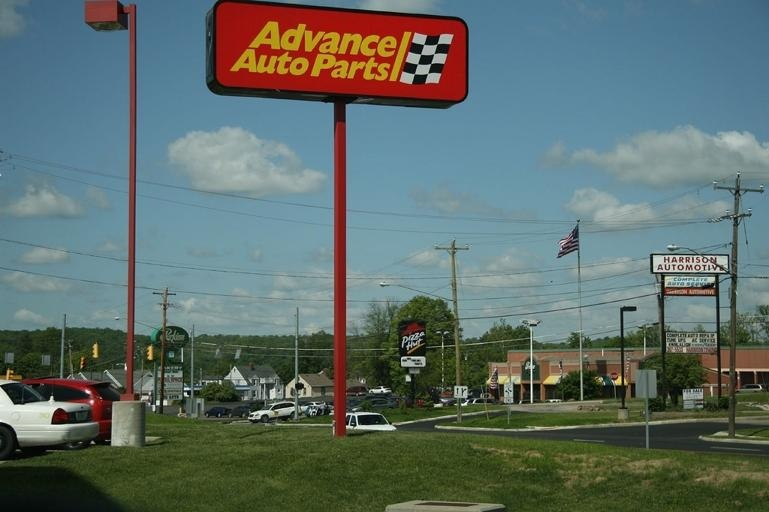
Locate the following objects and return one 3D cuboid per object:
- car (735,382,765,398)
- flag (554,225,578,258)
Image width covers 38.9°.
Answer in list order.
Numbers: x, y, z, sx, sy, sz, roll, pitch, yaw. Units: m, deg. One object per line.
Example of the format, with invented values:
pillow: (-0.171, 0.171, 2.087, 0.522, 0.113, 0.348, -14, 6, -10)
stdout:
car: (41.698, 15.515, 123.834, 3.780, 1.386, 1.775, 2, -3, 11)
flag: (12.872, -0.742, 75.818, 2.293, 3.029, 0.349, -4, -2, 36)
